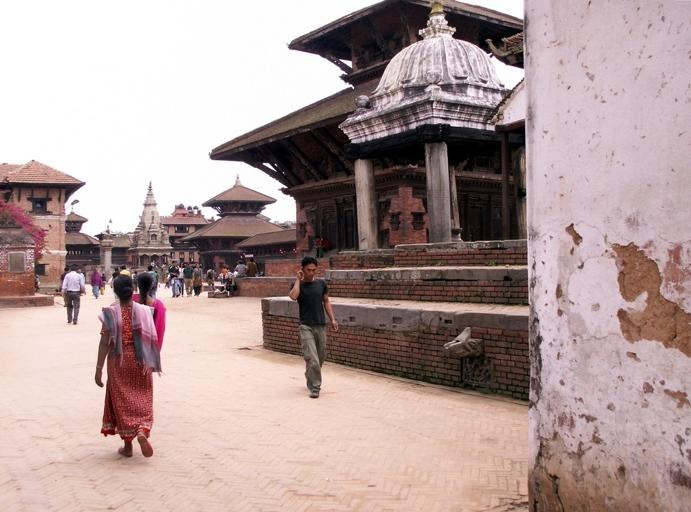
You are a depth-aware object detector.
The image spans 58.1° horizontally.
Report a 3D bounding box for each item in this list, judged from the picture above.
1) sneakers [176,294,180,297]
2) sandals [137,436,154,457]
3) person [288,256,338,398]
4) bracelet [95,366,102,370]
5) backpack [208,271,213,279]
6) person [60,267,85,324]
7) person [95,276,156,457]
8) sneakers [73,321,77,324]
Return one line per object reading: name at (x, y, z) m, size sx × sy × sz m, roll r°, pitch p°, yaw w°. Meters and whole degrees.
sneakers at (-8.360, 1.994, 30.720) m, size 0.183 × 0.212 × 0.325 m, roll -1°, pitch -6°, yaw -4°
sandals at (-1.799, 1.713, 5.534) m, size 0.089 × 0.229 × 0.090 m, roll -17°, pitch 5°, yaw -1°
person at (-0.427, 0.894, 7.933) m, size 0.457 × 1.722 × 0.554 m, roll -1°, pitch -2°, yaw 32°
bracelet at (-2.231, 1.022, 5.593) m, size 0.043 × 0.045 × 0.042 m, roll 7°, pitch -5°, yaw -33°
backpack at (-7.890, 1.124, 36.044) m, size 0.361 × 0.438 × 0.236 m, roll 4°, pitch 9°, yaw 21°
person at (-7.600, 1.105, 17.238) m, size 0.493 × 1.517 × 2.161 m, roll 1°, pitch -2°, yaw -25°
person at (-1.971, 1.003, 5.645) m, size 0.576 × 1.642 × 0.458 m, roll 0°, pitch -2°, yaw 4°
sneakers at (-7.224, 1.788, 16.536) m, size 0.082 × 0.117 × 0.061 m, roll -1°, pitch 3°, yaw 40°
